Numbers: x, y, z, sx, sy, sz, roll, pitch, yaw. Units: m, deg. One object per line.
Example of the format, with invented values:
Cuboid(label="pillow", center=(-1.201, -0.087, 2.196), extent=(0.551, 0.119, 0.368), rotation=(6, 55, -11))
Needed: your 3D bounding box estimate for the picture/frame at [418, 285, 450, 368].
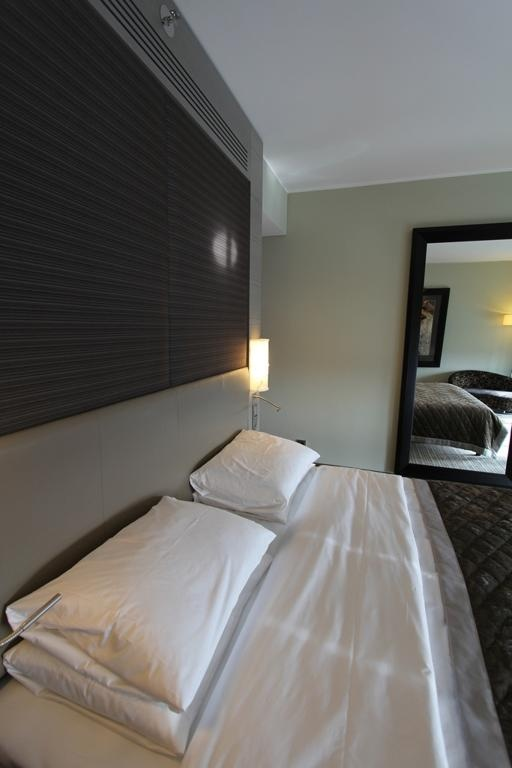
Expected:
Cuboid(label="picture/frame", center=(1.305, -0.407, 3.173), extent=(0.179, 0.574, 0.044), rotation=(7, 12, 23))
